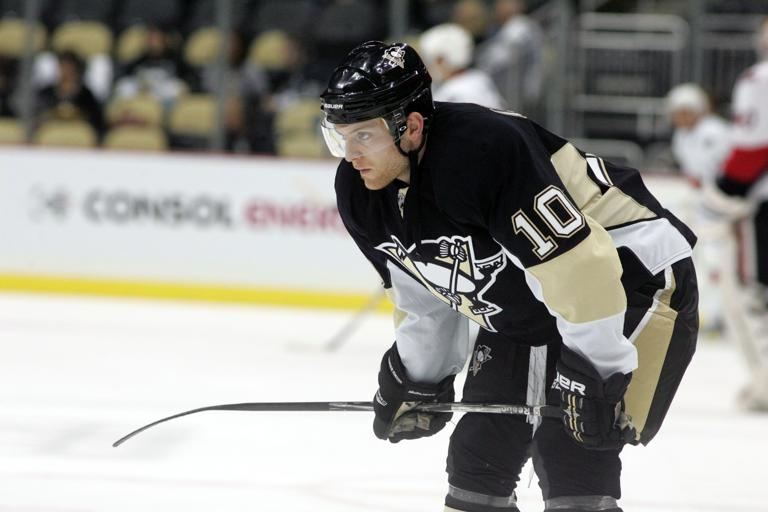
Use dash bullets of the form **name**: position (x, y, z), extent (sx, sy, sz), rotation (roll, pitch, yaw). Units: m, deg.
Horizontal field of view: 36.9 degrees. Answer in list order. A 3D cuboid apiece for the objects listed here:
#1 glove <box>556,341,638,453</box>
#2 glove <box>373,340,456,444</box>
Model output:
- **glove**: position (0.871, 0.562, 4.720), extent (0.299, 0.438, 0.380), rotation (-16, 19, -18)
- **glove**: position (0.094, 0.630, 5.073), extent (0.202, 0.429, 0.316), rotation (22, 35, 2)
